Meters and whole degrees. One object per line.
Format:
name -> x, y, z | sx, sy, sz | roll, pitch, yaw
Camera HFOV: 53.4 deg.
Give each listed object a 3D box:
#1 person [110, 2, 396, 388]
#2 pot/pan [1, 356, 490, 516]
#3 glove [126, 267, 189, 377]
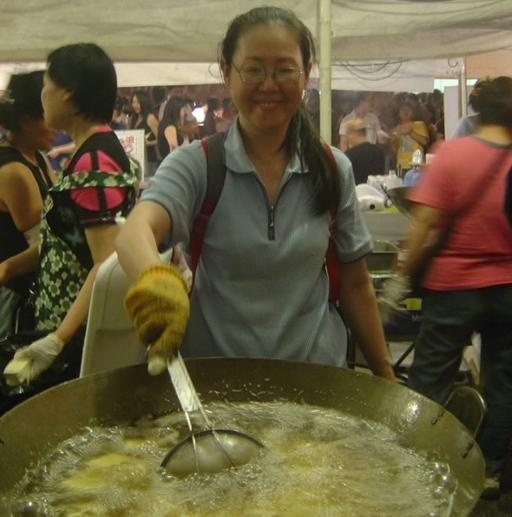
person -> 0.045, -0.177, 1.792 | 0.959, 1.325, 0.337 | -3, 9, -21
pot/pan -> -0.023, 0.412, 1.264 | 1.058, 0.128, 0.660 | 2, 9, 11
glove -> -0.256, 0.152, 1.258 | 0.133, 0.272, 0.098 | 28, -38, -26
